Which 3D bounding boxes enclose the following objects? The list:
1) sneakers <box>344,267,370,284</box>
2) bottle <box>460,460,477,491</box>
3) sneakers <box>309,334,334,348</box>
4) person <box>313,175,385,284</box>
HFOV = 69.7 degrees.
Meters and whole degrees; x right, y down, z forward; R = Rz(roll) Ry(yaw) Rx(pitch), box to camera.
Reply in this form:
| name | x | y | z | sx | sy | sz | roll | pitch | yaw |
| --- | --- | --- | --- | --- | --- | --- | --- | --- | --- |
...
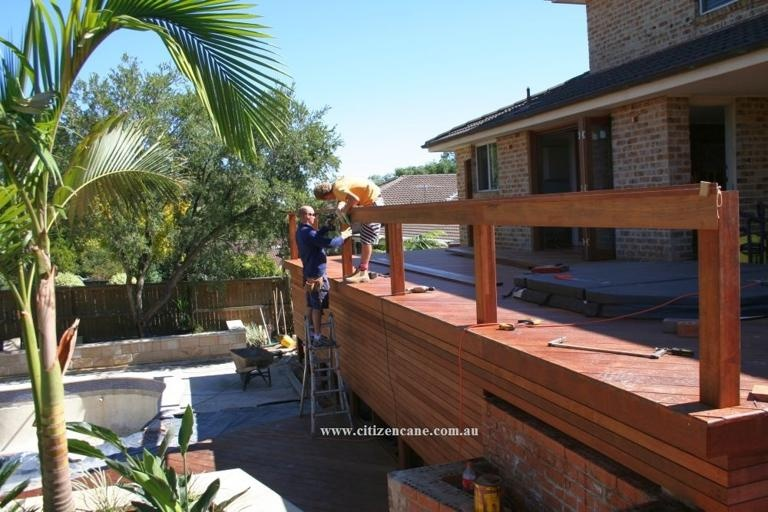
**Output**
| name | x | y | z | sx | sy | sz | roll | pitch | yaw |
| --- | --- | --- | --- | --- | --- | --- | --- | --- | --- |
| sneakers | -0.388 | 0.297 | 7.946 | 0.352 | 0.235 | 0.164 | 1 | 2 | 4 |
| bottle | 0.709 | 1.817 | 4.677 | 0.129 | 0.217 | 0.384 | -2 | 3 | 9 |
| sneakers | -0.937 | 1.261 | 8.262 | 0.344 | 0.151 | 0.174 | -1 | 5 | 0 |
| person | -0.475 | -0.410 | 7.984 | 0.906 | 1.548 | 1.162 | -3 | 3 | -1 |
